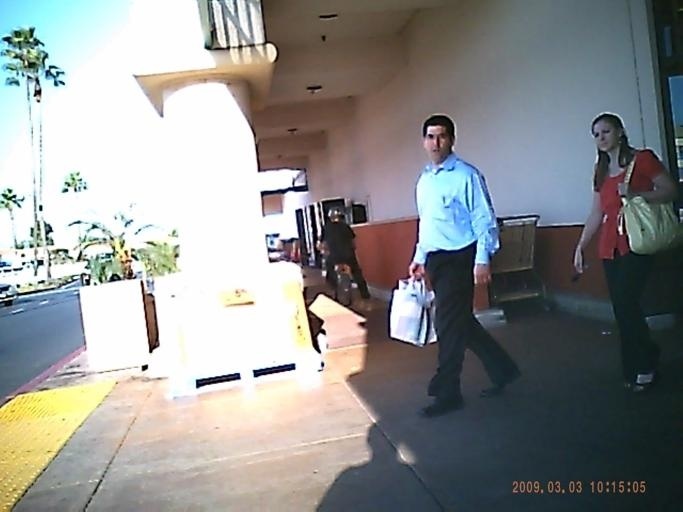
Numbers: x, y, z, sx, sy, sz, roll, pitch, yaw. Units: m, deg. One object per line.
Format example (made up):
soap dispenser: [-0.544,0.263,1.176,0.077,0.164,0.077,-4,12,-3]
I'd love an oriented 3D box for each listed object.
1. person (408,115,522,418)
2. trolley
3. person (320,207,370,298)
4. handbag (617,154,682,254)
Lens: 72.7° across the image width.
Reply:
person: [1.068,0.078,4.320,0.836,2.750,0.481,-5,7,8]
trolley: [2.553,0.086,6.855,0.703,1.236,0.819,2,19,11]
person: [-0.030,-0.119,10.804,1.034,2.542,0.311,-4,42,4]
handbag: [2.566,-0.270,3.866,0.439,0.470,0.182,-5,7,12]
